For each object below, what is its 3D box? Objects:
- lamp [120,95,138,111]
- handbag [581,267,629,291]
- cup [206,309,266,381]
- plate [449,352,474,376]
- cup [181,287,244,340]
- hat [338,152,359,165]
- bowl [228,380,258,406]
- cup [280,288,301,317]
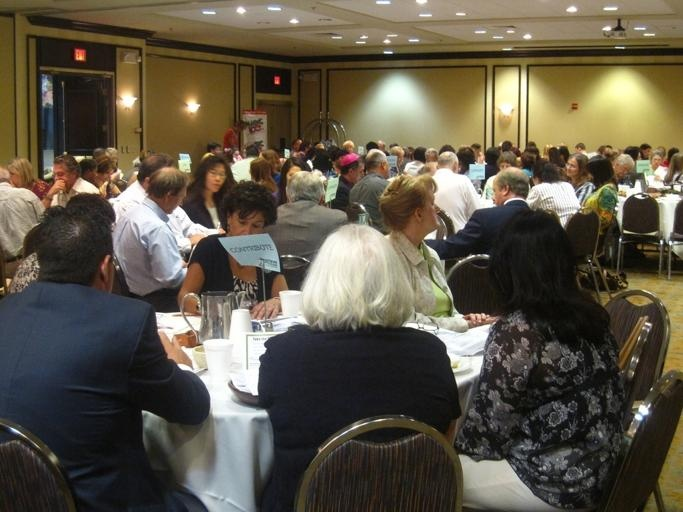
[{"bbox_3d":[-5.121,-3.726,12.313,0.094,0.327,0.434,7,10,29],"label":"lamp"},{"bbox_3d":[3.403,0.304,6.519,0.446,0.197,0.552,1,-2,35],"label":"handbag"},{"bbox_3d":[-0.394,0.310,1.813,0.152,0.258,0.240,-1,2,-40],"label":"cup"},{"bbox_3d":[0.434,0.380,1.867,0.079,0.038,0.200,5,10,14],"label":"plate"},{"bbox_3d":[-0.510,0.239,1.961,0.197,0.199,0.143,-1,9,-17],"label":"cup"},{"bbox_3d":[0.098,-1.339,6.700,0.227,0.067,0.247,-32,23,-14],"label":"hat"},{"bbox_3d":[-0.312,0.432,1.591,0.153,0.047,0.032,11,13,43],"label":"bowl"},{"bbox_3d":[-0.224,0.207,2.313,0.100,0.125,0.106,0,4,0],"label":"cup"}]
